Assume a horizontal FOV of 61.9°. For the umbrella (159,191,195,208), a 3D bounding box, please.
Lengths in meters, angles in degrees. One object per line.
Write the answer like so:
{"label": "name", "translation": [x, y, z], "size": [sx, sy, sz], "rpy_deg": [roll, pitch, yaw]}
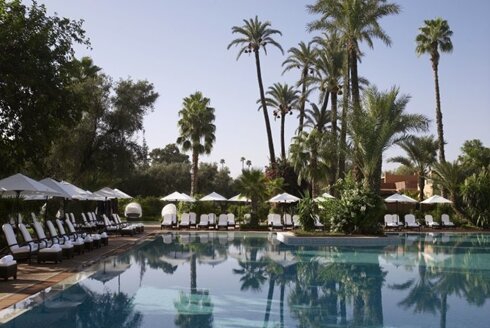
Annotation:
{"label": "umbrella", "translation": [-5.054, 2.440, 29.779], "size": [1.758, 0.843, 1.859], "rpy_deg": [-2, -7, 33]}

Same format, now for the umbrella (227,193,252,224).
{"label": "umbrella", "translation": [-0.133, 3.439, 31.026], "size": [1.996, 2.534, 2.152], "rpy_deg": [0, -1, -13]}
